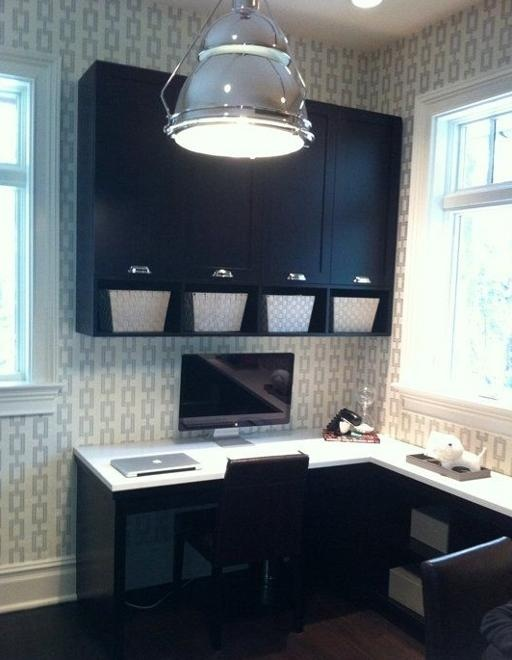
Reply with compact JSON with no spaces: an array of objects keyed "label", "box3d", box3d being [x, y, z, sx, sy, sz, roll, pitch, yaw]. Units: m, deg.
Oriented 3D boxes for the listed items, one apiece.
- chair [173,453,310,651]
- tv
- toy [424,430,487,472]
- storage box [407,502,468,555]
[{"label":"chair","box3d":[-0.046,0.831,2.316,0.466,0.787,0.489,1,2,-22]},{"label":"tv","box3d":[-0.107,0.322,2.746,0.357,0.295,0.097,-2,12,-24]},{"label":"toy","box3d":[0.782,0.490,2.370,0.160,0.116,0.160,5,4,-30]},{"label":"storage box","box3d":[0.765,0.846,2.519,0.163,0.235,0.321,0,0,-15]}]
